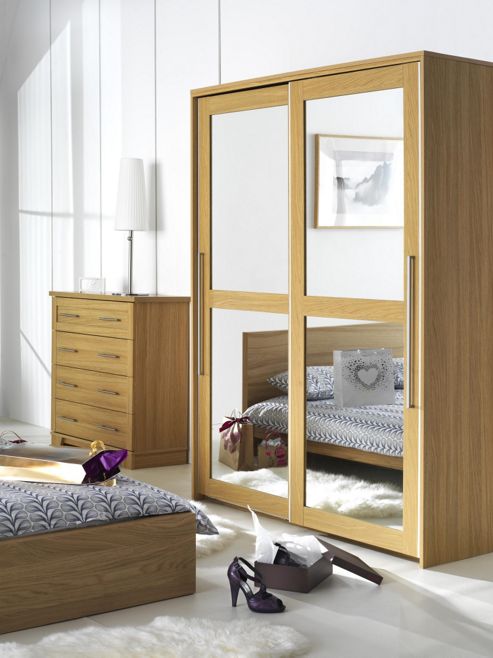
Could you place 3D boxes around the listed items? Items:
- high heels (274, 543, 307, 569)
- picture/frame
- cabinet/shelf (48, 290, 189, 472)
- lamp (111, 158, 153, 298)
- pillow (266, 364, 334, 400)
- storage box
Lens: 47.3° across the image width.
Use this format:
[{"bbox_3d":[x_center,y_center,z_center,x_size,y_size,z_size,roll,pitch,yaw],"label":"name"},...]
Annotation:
[{"bbox_3d":[0.134,0.713,1.760,0.030,0.034,0.096,-21,27,-36],"label":"high heels"},{"bbox_3d":[0.420,-0.539,2.071,0.015,0.299,0.400,-3,6,-34],"label":"picture/frame"},{"bbox_3d":[-0.761,0.315,3.520,0.603,1.320,1.083,0,2,-38],"label":"cabinet/shelf"},{"bbox_3d":[-0.809,-0.734,4.010,0.229,0.966,0.407,4,-4,-6],"label":"lamp"},{"bbox_3d":[0.246,0.210,2.250,0.060,0.143,0.215,-10,1,-40],"label":"pillow"},{"bbox_3d":[0.218,0.757,1.752,0.244,0.089,0.199,4,3,15],"label":"storage box"}]
